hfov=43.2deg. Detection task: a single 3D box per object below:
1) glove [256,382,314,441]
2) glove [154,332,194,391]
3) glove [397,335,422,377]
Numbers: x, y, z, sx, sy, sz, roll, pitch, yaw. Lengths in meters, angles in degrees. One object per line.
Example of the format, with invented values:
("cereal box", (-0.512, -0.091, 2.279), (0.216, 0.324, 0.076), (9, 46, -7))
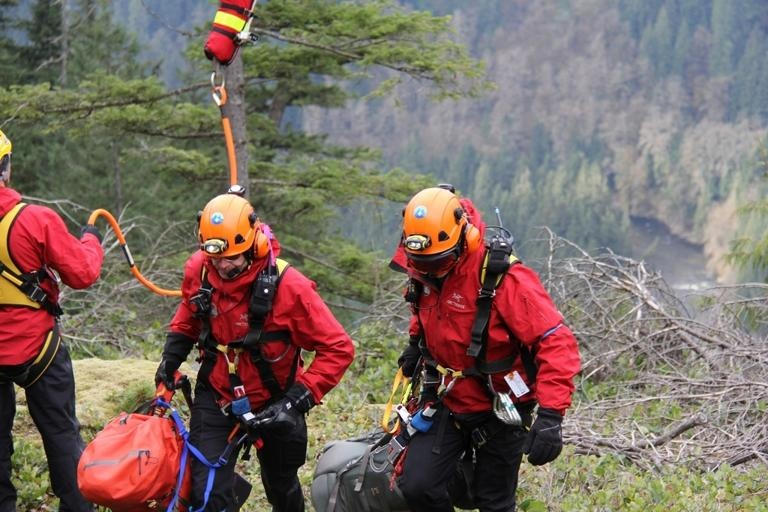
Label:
("glove", (-1.510, 2.361, 15.006), (0.537, 0.918, 0.380), (44, 1, -1))
("glove", (-3.298, 1.617, 15.249), (0.321, 0.852, 0.598), (17, -4, -35))
("glove", (0.390, 1.579, 15.381), (0.213, 0.591, 0.419), (7, 12, -16))
